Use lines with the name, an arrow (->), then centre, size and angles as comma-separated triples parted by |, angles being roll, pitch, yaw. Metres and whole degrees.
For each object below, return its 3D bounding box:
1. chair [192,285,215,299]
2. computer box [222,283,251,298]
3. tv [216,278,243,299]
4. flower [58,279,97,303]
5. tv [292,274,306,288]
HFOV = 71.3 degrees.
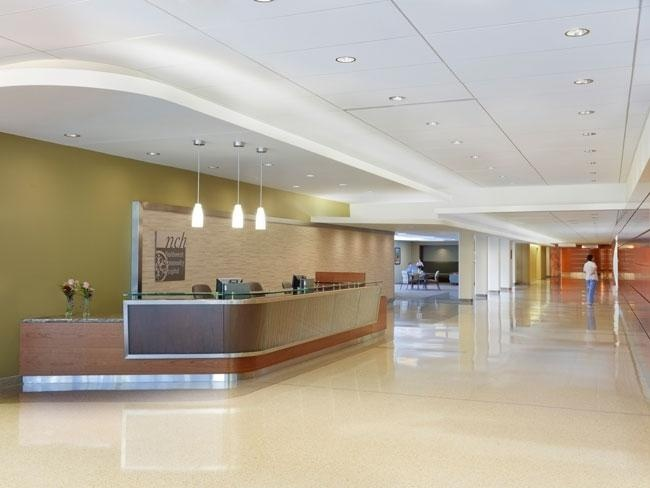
chair -> -2.201, 0.829, 7.906 | 0.310, 0.348, 0.338 | 4, -8, -29
computer box -> -1.405, 0.741, 7.225 | 0.249, 0.263, 0.459 | 0, -3, 40
tv -> -1.621, 0.723, 7.323 | 0.541, 0.314, 0.488 | -1, -4, 9
flower -> -4.026, 0.733, 7.433 | 0.522, 0.292, 0.474 | 3, -4, -5
tv -> -0.512, 0.767, 9.210 | 0.286, 0.301, 0.346 | -5, -5, 25
